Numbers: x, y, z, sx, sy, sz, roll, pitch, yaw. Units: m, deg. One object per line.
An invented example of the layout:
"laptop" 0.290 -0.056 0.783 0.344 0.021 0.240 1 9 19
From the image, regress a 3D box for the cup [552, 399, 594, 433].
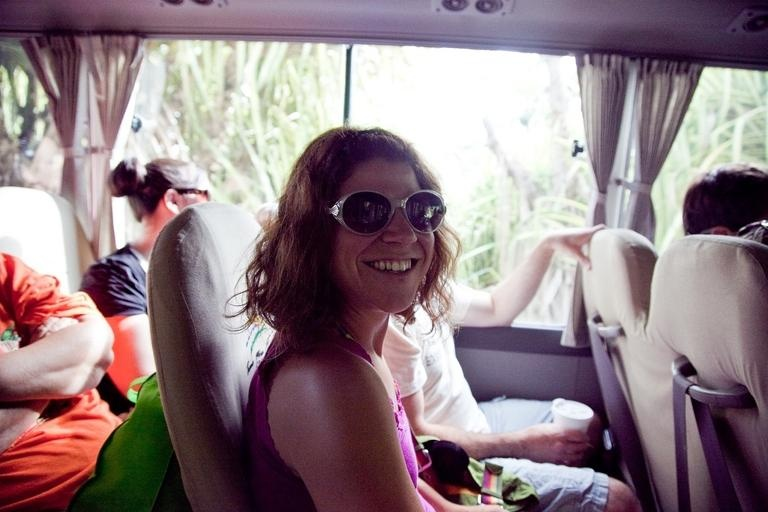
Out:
"cup" 0.930 0.783 2.742 0.173 0.148 0.168 7 3 0

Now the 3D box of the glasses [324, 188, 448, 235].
"glasses" 0.022 -0.153 1.929 0.416 0.176 0.105 3 2 -27
